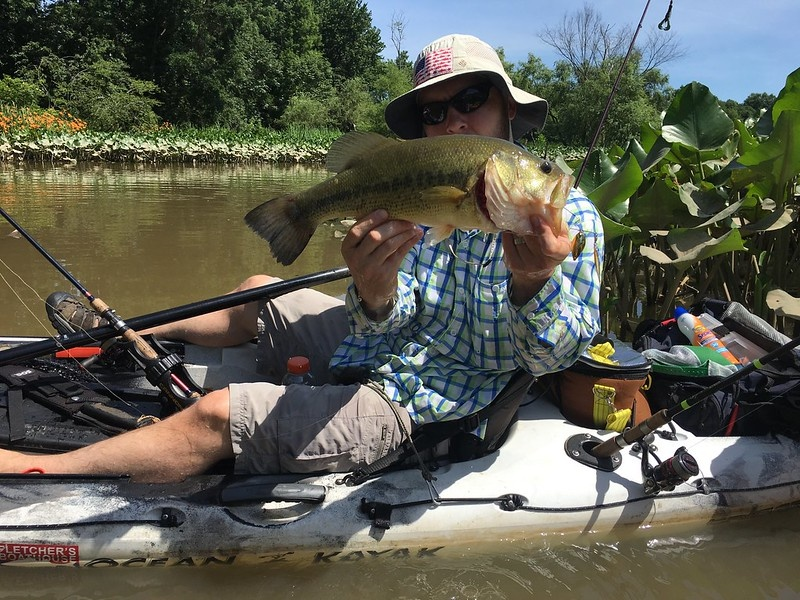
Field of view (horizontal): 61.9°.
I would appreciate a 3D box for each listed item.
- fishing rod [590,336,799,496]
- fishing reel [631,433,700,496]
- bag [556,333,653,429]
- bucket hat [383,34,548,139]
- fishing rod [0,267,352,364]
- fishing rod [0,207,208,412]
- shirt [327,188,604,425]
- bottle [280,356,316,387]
[{"bbox_3d":[1.579,0.648,3.556,1.553,0.265,0.123,-24,59,3],"label":"fishing rod"},{"bbox_3d":[1.314,0.838,3.313,0.162,0.236,0.446,19,-14,-6],"label":"fishing reel"},{"bbox_3d":[1.153,0.451,3.790,0.480,0.490,0.611,7,15,9],"label":"bag"},{"bbox_3d":[0.297,-1.160,3.536,0.768,0.422,0.737,-13,-4,-4],"label":"bucket hat"},{"bbox_3d":[-1.629,0.108,4.558,1.897,0.099,0.237,-15,52,-7],"label":"fishing rod"},{"bbox_3d":[-2.381,0.030,5.322,2.404,0.247,0.349,41,51,20],"label":"fishing rod"},{"bbox_3d":[0.292,0.110,3.292,1.037,1.291,0.425,2,60,11],"label":"shirt"},{"bbox_3d":[-0.549,0.376,3.612,0.152,0.139,0.136,-3,14,-20],"label":"bottle"}]
